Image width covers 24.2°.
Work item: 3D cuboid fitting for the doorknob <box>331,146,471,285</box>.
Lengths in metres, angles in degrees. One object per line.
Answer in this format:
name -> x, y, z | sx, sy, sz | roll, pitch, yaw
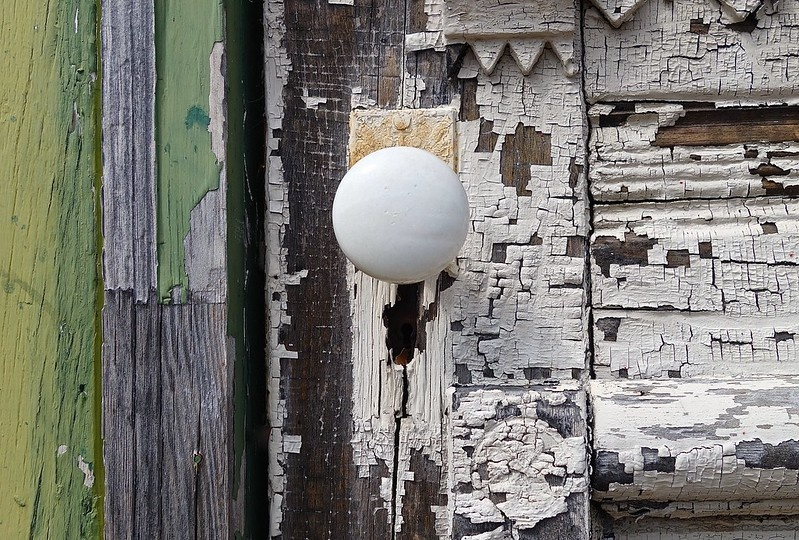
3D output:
doorknob -> 0.001, -0.102, 3.578 | 0.263, 0.258, 0.072 | 5, 8, -1
